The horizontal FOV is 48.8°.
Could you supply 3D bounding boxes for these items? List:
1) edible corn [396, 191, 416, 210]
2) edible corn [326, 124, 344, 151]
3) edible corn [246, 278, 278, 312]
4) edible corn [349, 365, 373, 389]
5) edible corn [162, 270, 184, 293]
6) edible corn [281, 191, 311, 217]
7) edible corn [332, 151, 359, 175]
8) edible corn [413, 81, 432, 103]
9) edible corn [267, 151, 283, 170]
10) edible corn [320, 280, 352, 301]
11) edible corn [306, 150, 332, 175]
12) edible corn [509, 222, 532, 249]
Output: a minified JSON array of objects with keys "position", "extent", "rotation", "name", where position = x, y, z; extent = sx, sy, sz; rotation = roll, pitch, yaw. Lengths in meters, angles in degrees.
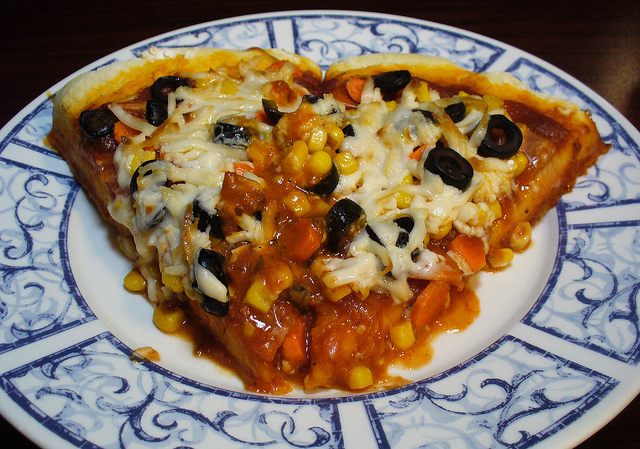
[{"position":[0.817,-0.223,6.781],"extent":[0.140,0.022,0.164],"rotation":[18,83,1],"name":"edible corn"},{"position":[0.147,-0.850,6.969],"extent":[0.173,0.159,0.224],"rotation":[-9,101,-13],"name":"edible corn"},{"position":[-0.525,0.629,6.373],"extent":[0.250,0.068,0.251],"rotation":[34,83,3],"name":"edible corn"},{"position":[0.384,1.426,6.570],"extent":[0.145,0.194,0.196],"rotation":[46,28,-16],"name":"edible corn"},{"position":[-1.378,0.556,6.662],"extent":[0.164,0.122,0.219],"rotation":[-27,112,21],"name":"edible corn"},{"position":[-0.214,-0.186,6.608],"extent":[0.222,0.107,0.223],"rotation":[-38,88,-16],"name":"edible corn"},{"position":[0.250,-0.572,6.920],"extent":[0.205,0.147,0.218],"rotation":[-31,83,-10],"name":"edible corn"},{"position":[1.095,-1.382,7.484],"extent":[0.147,0.065,0.255],"rotation":[0,72,-4],"name":"edible corn"},{"position":[-0.428,-0.613,6.761],"extent":[0.140,0.119,0.193],"rotation":[-1,83,-1],"name":"edible corn"},{"position":[0.144,0.620,6.492],"extent":[0.301,0.153,0.166],"rotation":[9,83,0],"name":"edible corn"},{"position":[0.002,-0.574,6.674],"extent":[0.207,0.114,0.205],"rotation":[8,70,1],"name":"edible corn"},{"position":[2.111,0.125,7.449],"extent":[0.101,0.203,0.264],"rotation":[34,64,-12],"name":"edible corn"}]
